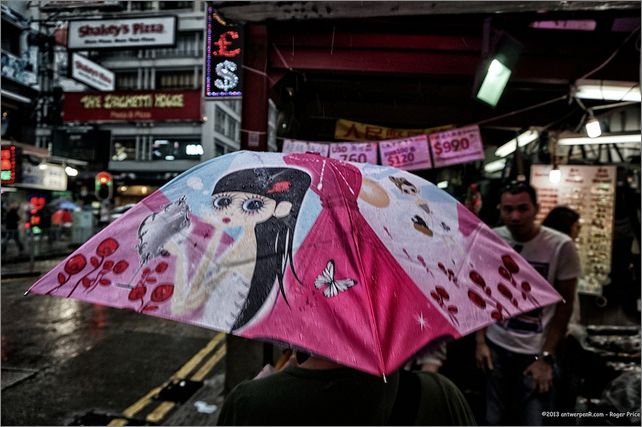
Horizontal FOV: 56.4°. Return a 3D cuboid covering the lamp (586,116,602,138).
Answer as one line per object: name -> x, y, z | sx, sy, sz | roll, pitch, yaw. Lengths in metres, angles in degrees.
lamp -> 4.491, -1.406, 9.875 | 0.240, 0.327, 0.277 | 7, 13, 22

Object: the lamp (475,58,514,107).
lamp -> 2.687, -2.037, 9.336 | 0.540, 0.692, 0.178 | 9, 21, -45
